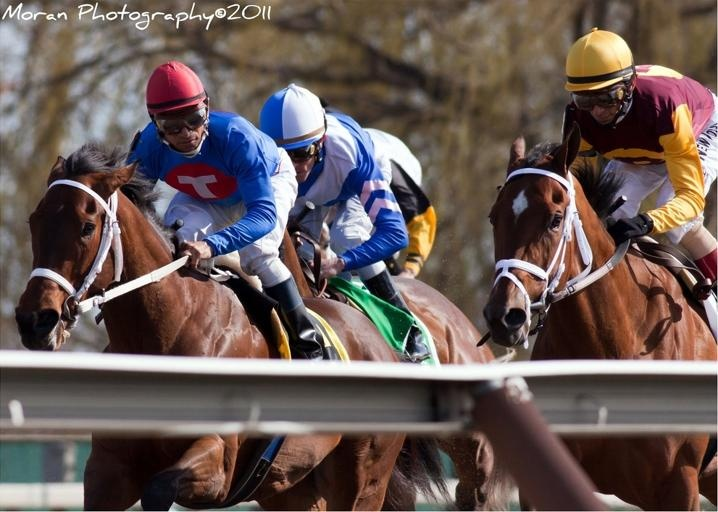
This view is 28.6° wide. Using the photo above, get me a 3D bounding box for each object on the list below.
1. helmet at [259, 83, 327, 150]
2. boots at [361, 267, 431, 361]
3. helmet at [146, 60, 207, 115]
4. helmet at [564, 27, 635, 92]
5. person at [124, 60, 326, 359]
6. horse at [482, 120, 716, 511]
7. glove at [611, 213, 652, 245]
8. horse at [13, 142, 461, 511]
[{"bbox_3d":[-0.362,-0.767,7.542,0.348,0.275,0.448,0,34,18],"label":"helmet"},{"bbox_3d":[0.191,0.336,7.647,0.132,0.473,0.181,-35,-12,5],"label":"boots"},{"bbox_3d":[-0.902,-0.833,6.885,0.295,0.212,0.374,-9,18,1],"label":"helmet"},{"bbox_3d":[1.227,-1.021,7.290,0.358,0.278,0.468,0,16,39],"label":"helmet"},{"bbox_3d":[-0.862,-0.152,7.102,1.109,1.586,0.831,-11,12,-10],"label":"person"},{"bbox_3d":[1.207,0.368,6.988,1.186,2.020,0.858,-3,11,2],"label":"horse"},{"bbox_3d":[1.356,-0.142,7.028,0.182,0.076,0.131,-28,55,-4],"label":"glove"},{"bbox_3d":[-0.678,0.442,6.903,0.869,2.051,1.861,5,14,38],"label":"horse"}]
